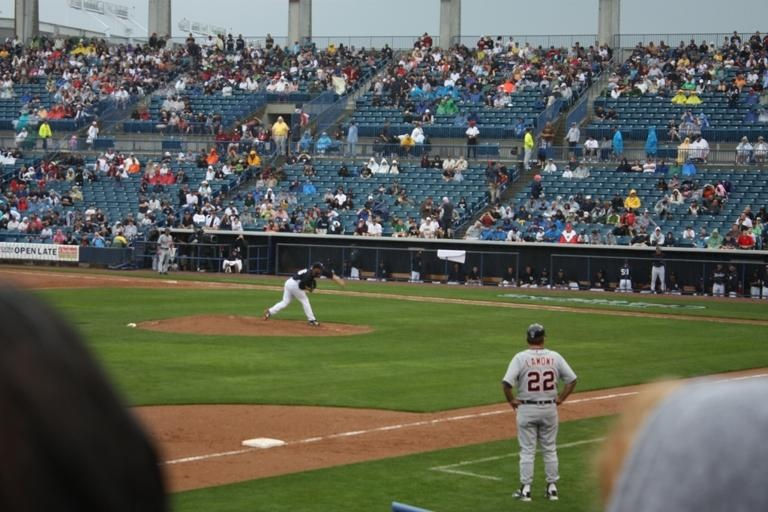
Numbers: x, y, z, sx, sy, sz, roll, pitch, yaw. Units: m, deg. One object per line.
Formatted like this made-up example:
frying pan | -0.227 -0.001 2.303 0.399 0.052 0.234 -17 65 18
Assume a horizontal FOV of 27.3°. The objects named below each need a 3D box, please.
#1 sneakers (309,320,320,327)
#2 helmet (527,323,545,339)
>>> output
sneakers | -3.232 2.971 72.793 0.562 0.255 0.208 -1 2 13
helmet | 5.757 2.728 59.686 0.499 0.424 0.695 5 27 12
